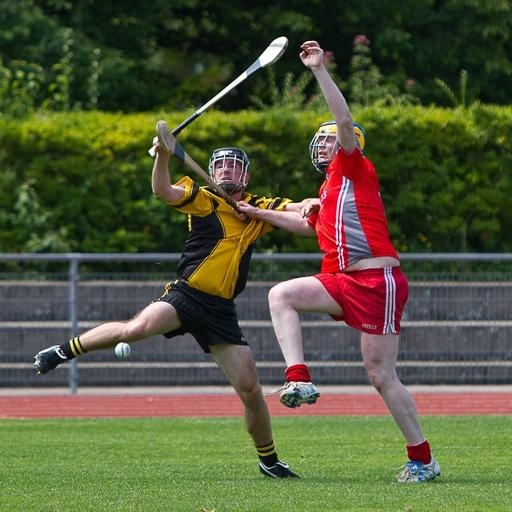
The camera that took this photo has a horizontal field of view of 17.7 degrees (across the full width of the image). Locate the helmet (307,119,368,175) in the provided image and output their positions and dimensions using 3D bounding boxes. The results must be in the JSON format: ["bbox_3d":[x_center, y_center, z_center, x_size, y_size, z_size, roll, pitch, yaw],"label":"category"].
[{"bbox_3d":[0.715,-0.939,13.857,0.468,0.469,0.363,16,-25,-24],"label":"helmet"}]

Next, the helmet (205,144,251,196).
[{"bbox_3d":[-0.233,-0.776,14.074,0.282,0.430,0.285,-3,13,-21],"label":"helmet"}]

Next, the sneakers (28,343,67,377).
[{"bbox_3d":[-1.714,0.873,13.751,0.290,0.244,0.267,12,16,42],"label":"sneakers"}]

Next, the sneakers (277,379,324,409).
[{"bbox_3d":[0.361,1.110,13.362,0.369,0.200,0.147,2,-44,-29],"label":"sneakers"}]

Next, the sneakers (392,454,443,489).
[{"bbox_3d":[1.349,1.798,13.750,0.426,0.205,0.156,-12,4,-16],"label":"sneakers"}]

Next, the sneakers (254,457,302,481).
[{"bbox_3d":[0.173,1.787,13.842,0.366,0.163,0.127,6,8,1],"label":"sneakers"}]
